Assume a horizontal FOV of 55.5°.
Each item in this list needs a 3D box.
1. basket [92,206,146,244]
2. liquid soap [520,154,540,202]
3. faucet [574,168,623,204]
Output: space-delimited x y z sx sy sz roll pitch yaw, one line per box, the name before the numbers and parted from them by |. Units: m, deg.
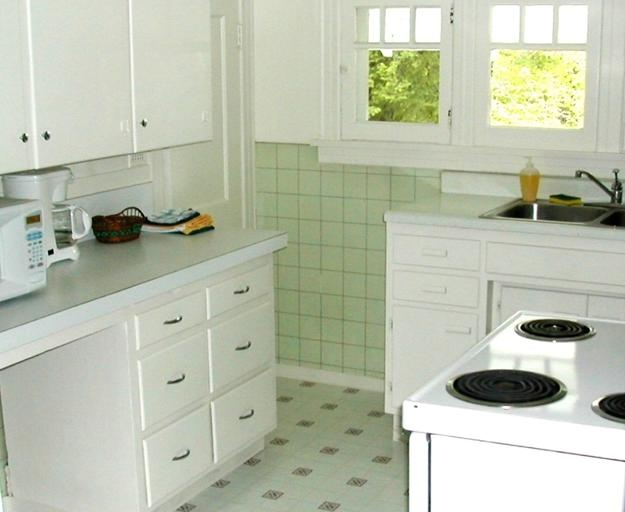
basket | -0.929 -0.153 2.804 0.264 0.136 0.189 -6 -1 7
liquid soap | 1.220 -0.428 3.324 0.111 0.236 0.171 4 15 18
faucet | 1.546 -0.377 3.194 0.245 0.170 0.229 5 14 22
